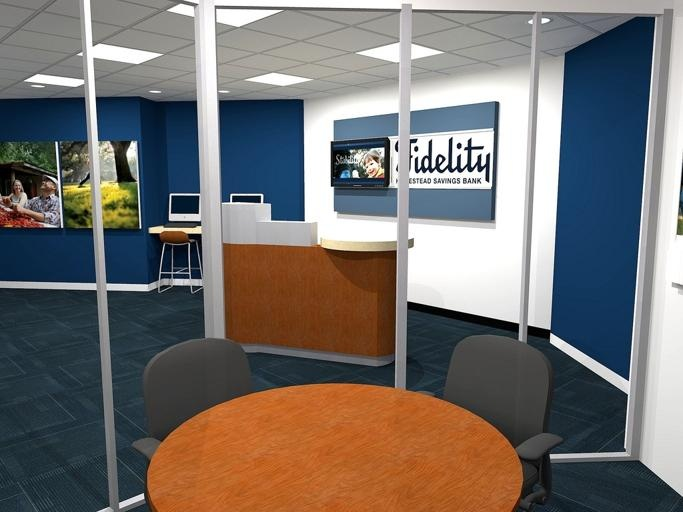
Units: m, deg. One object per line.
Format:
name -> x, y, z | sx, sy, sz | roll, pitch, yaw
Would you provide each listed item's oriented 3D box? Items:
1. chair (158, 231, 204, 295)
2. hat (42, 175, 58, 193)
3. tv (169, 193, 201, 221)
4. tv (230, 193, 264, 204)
chair -> -2.679, 0.034, 7.924 | 0.719, 1.030, 0.747 | -4, 12, -18
hat -> -4.670, -1.172, 7.758 | 0.275, 0.273, 0.228 | 0, -5, -33
tv -> -2.633, -0.804, 8.049 | 0.643, 0.475, 0.212 | 2, 12, 12
tv -> -1.502, -0.898, 7.671 | 0.582, 0.149, 0.987 | -2, 12, -11
